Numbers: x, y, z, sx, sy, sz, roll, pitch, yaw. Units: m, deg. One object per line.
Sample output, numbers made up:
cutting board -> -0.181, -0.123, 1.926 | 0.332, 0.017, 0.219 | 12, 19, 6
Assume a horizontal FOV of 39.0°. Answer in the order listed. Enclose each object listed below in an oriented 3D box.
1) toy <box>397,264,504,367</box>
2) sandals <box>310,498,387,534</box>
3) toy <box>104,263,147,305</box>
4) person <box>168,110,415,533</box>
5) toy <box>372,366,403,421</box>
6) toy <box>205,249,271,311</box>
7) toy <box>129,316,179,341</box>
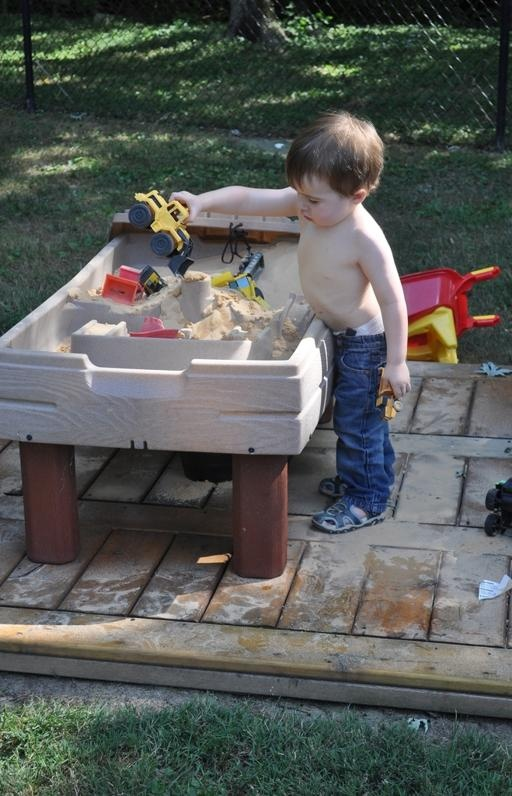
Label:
toy -> 0.775, -0.371, 3.147 | 0.624, 0.321, 0.373 | -5, -3, 10
sandals -> 0.269, 0.345, 2.104 | 0.211, 0.084, 0.079 | -2, 14, -14
toy -> -0.468, -0.381, 2.615 | 0.155, 0.138, 0.204 | 6, 19, 3
person -> 0.251, -0.173, 1.958 | 0.313, 1.120, 0.302 | -1, 18, 3
toy -> 0.364, -0.012, 1.968 | 0.062, 0.150, 0.157 | 0, 17, 6
toy -> -0.037, -0.463, 2.726 | 0.190, 0.095, 0.246 | -8, 27, 30
toy -> -0.311, -0.196, 2.170 | 0.127, 0.044, 0.102 | -3, 4, -14
